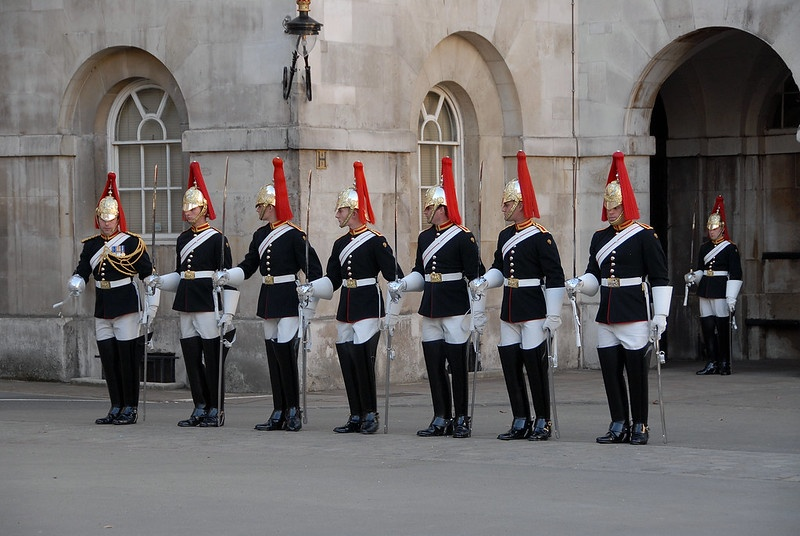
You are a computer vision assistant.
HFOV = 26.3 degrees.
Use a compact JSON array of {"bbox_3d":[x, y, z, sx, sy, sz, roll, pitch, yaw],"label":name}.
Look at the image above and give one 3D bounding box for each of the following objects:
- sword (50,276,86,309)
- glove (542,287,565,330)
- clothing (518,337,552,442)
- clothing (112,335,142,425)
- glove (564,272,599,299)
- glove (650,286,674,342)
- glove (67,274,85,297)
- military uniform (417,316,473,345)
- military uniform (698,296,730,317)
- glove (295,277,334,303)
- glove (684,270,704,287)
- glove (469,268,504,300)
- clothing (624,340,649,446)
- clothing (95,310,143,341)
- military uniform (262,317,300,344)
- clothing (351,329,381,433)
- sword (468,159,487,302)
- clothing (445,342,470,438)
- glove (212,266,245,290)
[{"bbox_3d":[-4.301,0.294,22.032,0.411,0.209,0.203,-44,29,-13],"label":"sword"},{"bbox_3d":[1.660,0.446,18.600,0.210,0.478,0.318,-1,1,30],"label":"glove"},{"bbox_3d":[1.462,1.316,18.680,0.285,1.131,0.284,-2,1,3],"label":"clothing"},{"bbox_3d":[-3.112,1.294,19.572,0.384,0.978,0.230,-2,1,-26],"label":"clothing"},{"bbox_3d":[1.946,0.203,18.588,0.364,0.166,0.208,-5,11,-10],"label":"glove"},{"bbox_3d":[2.770,0.476,18.416,0.209,0.596,0.365,-1,1,9],"label":"glove"},{"bbox_3d":[-3.721,0.197,19.685,0.207,0.267,0.114,6,-3,-10],"label":"glove"},{"bbox_3d":[0.475,0.692,18.882,0.537,0.376,0.322,-2,-7,32],"label":"military uniform"},{"bbox_3d":[4.415,0.566,24.373,0.250,0.393,0.419,6,-8,-43],"label":"military uniform"},{"bbox_3d":[-0.955,0.242,19.197,0.325,0.171,0.267,-4,-4,-17],"label":"glove"},{"bbox_3d":[4.135,0.131,24.420,0.201,0.172,0.238,-1,-4,8],"label":"glove"},{"bbox_3d":[0.885,0.132,18.795,0.395,0.270,0.216,-37,48,-28],"label":"glove"},{"bbox_3d":[2.511,1.379,18.410,0.246,1.037,0.262,-2,1,7],"label":"clothing"},{"bbox_3d":[-3.230,0.685,19.619,0.505,0.372,0.329,-3,-6,27],"label":"clothing"},{"bbox_3d":[-1.355,0.699,19.414,0.462,0.352,0.273,-2,-5,36],"label":"military uniform"},{"bbox_3d":[-0.347,1.282,19.110,0.325,1.126,0.211,-3,2,-41],"label":"clothing"},{"bbox_3d":[1.017,-0.694,22.713,0.191,2.498,0.286,0,2,-21],"label":"sword"},{"bbox_3d":[0.614,1.344,18.887,0.250,1.039,0.363,-2,1,2],"label":"clothing"},{"bbox_3d":[-1.934,0.113,19.370,0.284,0.187,0.212,0,25,-12],"label":"glove"}]
